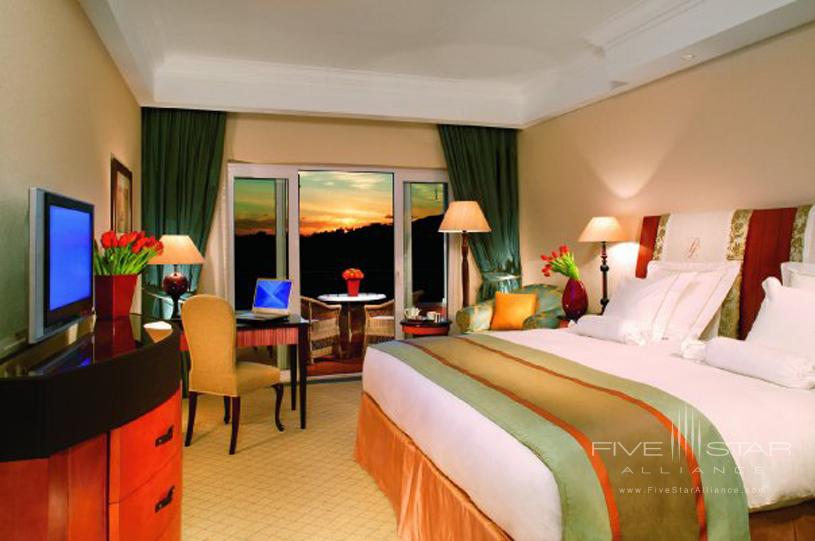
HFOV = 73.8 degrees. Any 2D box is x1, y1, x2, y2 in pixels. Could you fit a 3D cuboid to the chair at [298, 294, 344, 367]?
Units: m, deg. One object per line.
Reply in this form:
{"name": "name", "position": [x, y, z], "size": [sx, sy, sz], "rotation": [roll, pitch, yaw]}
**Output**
{"name": "chair", "position": [-1.045, 0.743, 7.239], "size": [0.681, 0.927, 0.830], "rotation": [-2, 2, -23]}

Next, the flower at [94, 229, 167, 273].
{"name": "flower", "position": [-1.898, -0.115, 3.708], "size": [0.345, 0.411, 0.397], "rotation": [7, 2, 27]}

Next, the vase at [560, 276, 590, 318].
{"name": "vase", "position": [1.787, 0.281, 5.608], "size": [0.339, 0.585, 0.362], "rotation": [-2, 1, 20]}

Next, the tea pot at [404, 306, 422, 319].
{"name": "tea pot", "position": [0.063, 0.507, 6.424], "size": [0.144, 0.135, 0.119], "rotation": [-1, 0, -13]}

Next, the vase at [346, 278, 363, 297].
{"name": "vase", "position": [-0.805, 0.252, 7.789], "size": [0.216, 0.252, 0.216], "rotation": [4, -8, -38]}

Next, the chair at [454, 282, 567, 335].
{"name": "chair", "position": [1.232, 0.470, 6.169], "size": [0.792, 0.772, 0.681], "rotation": [-5, -10, 40]}

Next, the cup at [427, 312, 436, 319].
{"name": "cup", "position": [0.284, 0.535, 6.383], "size": [0.086, 0.089, 0.066], "rotation": [1, -6, -9]}

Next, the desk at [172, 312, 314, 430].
{"name": "desk", "position": [-1.483, 1.037, 5.243], "size": [1.349, 1.300, 1.014], "rotation": [-2, -3, 26]}

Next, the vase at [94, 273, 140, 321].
{"name": "vase", "position": [-1.880, 0.191, 3.635], "size": [0.264, 0.363, 0.302], "rotation": [-3, -5, 28]}

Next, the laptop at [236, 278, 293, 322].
{"name": "laptop", "position": [-1.343, 0.285, 5.221], "size": [0.437, 0.319, 0.379], "rotation": [1, 2, 24]}

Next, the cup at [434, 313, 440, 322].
{"name": "cup", "position": [0.357, 0.559, 6.390], "size": [0.075, 0.088, 0.078], "rotation": [1, -1, 0]}

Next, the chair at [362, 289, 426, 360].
{"name": "chair", "position": [-0.205, 0.718, 7.085], "size": [0.688, 0.965, 0.753], "rotation": [0, -2, 4]}
